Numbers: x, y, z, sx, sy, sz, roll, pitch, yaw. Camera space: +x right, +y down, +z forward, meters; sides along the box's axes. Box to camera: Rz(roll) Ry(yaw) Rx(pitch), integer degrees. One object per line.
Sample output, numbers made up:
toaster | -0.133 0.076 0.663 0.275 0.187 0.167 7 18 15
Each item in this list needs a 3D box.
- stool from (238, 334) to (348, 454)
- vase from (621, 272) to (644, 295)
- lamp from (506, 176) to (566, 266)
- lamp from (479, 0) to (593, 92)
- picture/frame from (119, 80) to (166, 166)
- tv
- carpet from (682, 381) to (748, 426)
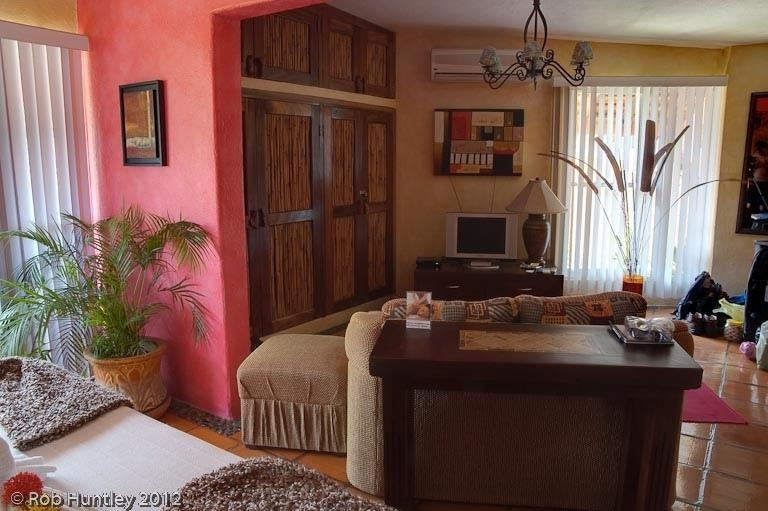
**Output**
stool | -0.614 0.948 4.167 0.746 0.570 0.755 1 6 4
vase | 2.676 0.305 6.090 0.260 0.297 0.278 0 -4 21
lamp | 1.660 -0.365 6.219 0.622 0.914 0.333 0 10 0
lamp | 1.496 -2.104 5.609 0.977 0.879 0.963 -9 16 -34
picture/frame | -1.803 -1.006 4.254 0.612 0.768 0.079 4 7 34
tv | 1.127 -0.150 6.507 0.885 0.611 0.484 1 1 9
carpet | 2.574 1.163 4.407 0.353 0.011 0.601 -1 9 16
